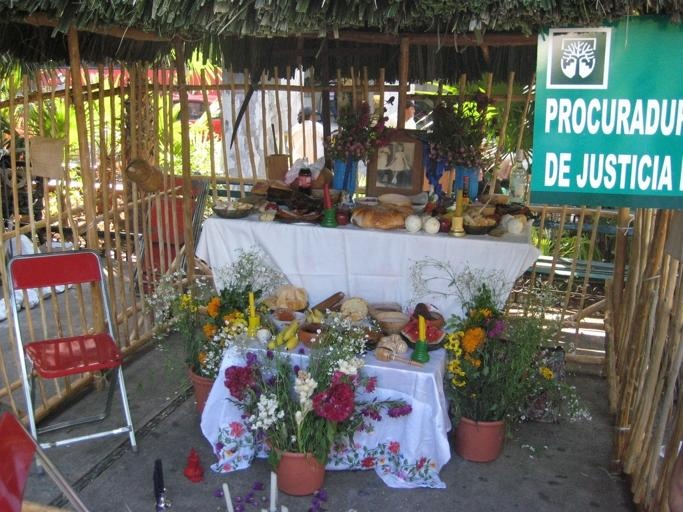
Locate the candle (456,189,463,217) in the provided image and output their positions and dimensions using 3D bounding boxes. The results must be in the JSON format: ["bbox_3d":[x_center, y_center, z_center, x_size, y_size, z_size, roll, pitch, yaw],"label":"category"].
[{"bbox_3d":[0.869,-0.388,4.279,0.050,0.191,0.098,3,12,12],"label":"candle"}]

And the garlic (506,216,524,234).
[{"bbox_3d":[1.287,-0.227,4.300,0.121,0.145,0.095,2,2,-20],"label":"garlic"}]

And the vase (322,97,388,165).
[{"bbox_3d":[0.138,-1.058,5.013,0.512,0.510,0.218,0,12,-1],"label":"vase"}]

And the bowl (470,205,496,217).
[{"bbox_3d":[1.072,-0.335,4.442,0.179,0.069,0.382,5,14,19],"label":"bowl"}]

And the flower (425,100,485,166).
[{"bbox_3d":[0.959,-1.010,4.879,0.459,0.525,0.258,3,13,15],"label":"flower"}]

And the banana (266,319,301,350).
[{"bbox_3d":[-0.371,0.553,4.103,0.109,0.072,0.245,20,23,6],"label":"banana"}]

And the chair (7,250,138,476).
[{"bbox_3d":[-1.879,0.549,4.197,0.703,1.670,0.788,-6,14,-33],"label":"chair"}]

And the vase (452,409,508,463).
[{"bbox_3d":[0.984,1.269,4.211,0.302,0.368,0.321,-2,17,-10],"label":"vase"}]

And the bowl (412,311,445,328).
[{"bbox_3d":[0.641,0.459,4.191,0.140,0.063,0.139,8,5,-1],"label":"bowl"}]

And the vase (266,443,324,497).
[{"bbox_3d":[-0.284,1.379,3.917,0.332,0.311,0.378,-5,17,-37],"label":"vase"}]

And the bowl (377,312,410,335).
[{"bbox_3d":[0.377,0.475,4.226,0.156,0.113,0.165,0,18,0],"label":"bowl"}]

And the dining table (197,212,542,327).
[{"bbox_3d":[0.202,-0.335,4.464,3.221,0.926,0.648,6,20,11],"label":"dining table"}]

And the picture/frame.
[{"bbox_3d":[0.495,-0.822,5.094,0.574,0.921,0.085,3,27,6],"label":"picture/frame"}]

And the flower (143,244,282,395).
[{"bbox_3d":[-0.939,0.219,4.786,1.123,0.902,1.001,9,16,35],"label":"flower"}]

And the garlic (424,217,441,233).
[{"bbox_3d":[0.674,-0.222,4.305,0.128,0.118,0.096,2,13,9],"label":"garlic"}]

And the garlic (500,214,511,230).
[{"bbox_3d":[1.234,-0.253,4.345,0.047,0.095,0.087,17,11,-40],"label":"garlic"}]

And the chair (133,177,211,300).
[{"bbox_3d":[-1.919,-0.232,6.397,0.670,1.646,0.651,7,18,23],"label":"chair"}]

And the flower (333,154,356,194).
[{"bbox_3d":[0.035,-0.719,5.084,0.211,0.443,0.220,7,18,20],"label":"flower"}]

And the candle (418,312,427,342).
[{"bbox_3d":[0.561,0.478,3.996,0.060,0.173,0.241,1,13,6],"label":"candle"}]

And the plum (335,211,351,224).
[{"bbox_3d":[0.012,-0.296,4.553,0.086,0.090,0.094,15,35,18],"label":"plum"}]

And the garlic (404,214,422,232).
[{"bbox_3d":[0.544,-0.240,4.356,0.123,0.123,0.095,1,12,5],"label":"garlic"}]
